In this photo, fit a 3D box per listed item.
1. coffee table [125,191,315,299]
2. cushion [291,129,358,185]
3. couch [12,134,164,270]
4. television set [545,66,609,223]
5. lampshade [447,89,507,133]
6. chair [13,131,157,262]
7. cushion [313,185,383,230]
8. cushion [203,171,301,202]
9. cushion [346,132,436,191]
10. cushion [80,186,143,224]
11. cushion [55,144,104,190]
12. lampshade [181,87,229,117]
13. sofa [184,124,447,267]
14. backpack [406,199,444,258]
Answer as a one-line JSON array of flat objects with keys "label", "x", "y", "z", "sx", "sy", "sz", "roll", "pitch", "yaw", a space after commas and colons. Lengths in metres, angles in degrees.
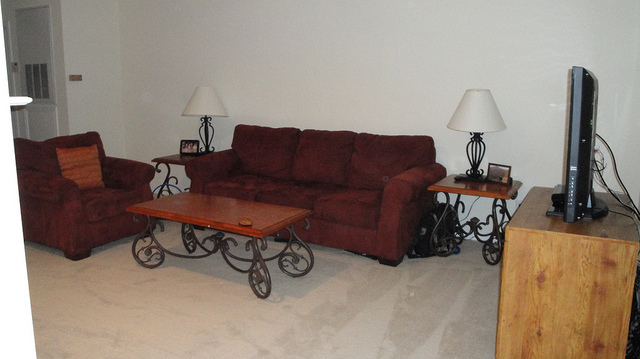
[{"label": "coffee table", "x": -1.053, "y": 0.608, "z": 4.854, "sx": 2.118, "sy": 0.788, "sz": 1.152, "roll": 6, "pitch": 13, "yaw": 20}, {"label": "cushion", "x": 0.054, "y": -0.288, "z": 5.533, "sx": 0.817, "sy": 0.698, "sz": 0.242, "roll": 9, "pitch": -7, "yaw": 27}, {"label": "couch", "x": -2.859, "y": 0.171, "z": 5.237, "sx": 1.367, "sy": 1.280, "sz": 1.105, "roll": 8, "pitch": 14, "yaw": 29}, {"label": "television set", "x": 2.076, "y": -0.268, "z": 3.380, "sx": 0.474, "sy": 1.168, "sz": 0.333, "roll": -6, "pitch": 16, "yaw": -30}, {"label": "lampshade", "x": 1.690, "y": -0.737, "z": 4.735, "sx": 0.575, "sy": 0.304, "sz": 0.489, "roll": -3, "pitch": 13, "yaw": 4}, {"label": "chair", "x": -2.884, "y": 0.129, "z": 5.322, "sx": 1.296, "sy": 1.052, "sz": 1.308, "roll": 13, "pitch": 19, "yaw": 17}, {"label": "cushion", "x": 0.354, "y": 0.321, "z": 5.094, "sx": 0.775, "sy": 0.312, "sz": 0.649, "roll": 4, "pitch": 12, "yaw": 14}, {"label": "cushion", "x": -0.941, "y": 0.040, "z": 5.751, "sx": 0.771, "sy": 0.187, "sz": 1.021, "roll": 3, "pitch": 13, "yaw": 42}, {"label": "cushion", "x": 0.819, "y": -0.158, "z": 5.463, "sx": 0.466, "sy": 0.773, "sz": 1.301, "roll": -1, "pitch": 8, "yaw": -41}, {"label": "cushion", "x": -2.576, "y": 0.220, "z": 5.145, "sx": 0.511, "sy": 0.178, "sz": 0.560, "roll": 13, "pitch": 19, "yaw": 42}, {"label": "cushion", "x": -2.939, "y": -0.158, "z": 5.318, "sx": 0.136, "sy": 0.485, "sz": 0.561, "roll": -20, "pitch": -6, "yaw": 38}, {"label": "lampshade", "x": -1.630, "y": -1.131, "z": 6.181, "sx": 0.629, "sy": 0.309, "sz": 0.590, "roll": -4, "pitch": -3, "yaw": -15}, {"label": "sofa", "x": -0.166, "y": 0.035, "z": 5.608, "sx": 3.205, "sy": 1.132, "sz": 1.208, "roll": 8, "pitch": 22, "yaw": 32}, {"label": "backpack", "x": 1.222, "y": 0.570, "z": 4.952, "sx": 0.483, "sy": 0.616, "sz": 0.243, "roll": -6, "pitch": -18, "yaw": 42}]
